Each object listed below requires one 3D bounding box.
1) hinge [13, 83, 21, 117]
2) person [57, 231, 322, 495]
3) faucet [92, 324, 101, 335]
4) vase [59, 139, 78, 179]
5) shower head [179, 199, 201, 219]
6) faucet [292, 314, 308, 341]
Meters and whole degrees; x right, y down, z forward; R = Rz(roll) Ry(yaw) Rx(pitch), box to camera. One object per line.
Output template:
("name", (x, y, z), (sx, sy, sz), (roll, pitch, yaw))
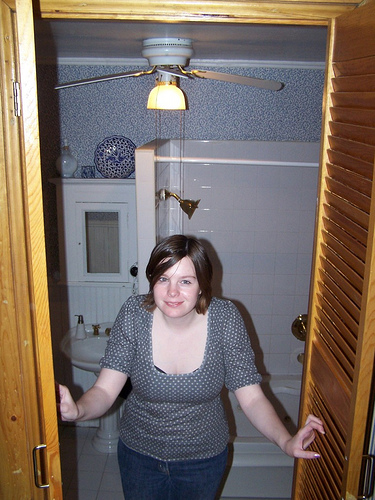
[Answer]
("hinge", (-0.299, -0.264, 0.727), (0.015, 0.056, 0.009), (-10, 13, -39))
("person", (0.007, 0.368, 1.135), (0.597, 0.803, 0.390), (-1, 10, 5))
("faucet", (-0.581, 0.503, 2.632), (0.071, 0.094, 0.045), (1, -2, -12))
("vase", (-0.771, -0.595, 2.680), (0.105, 0.266, 0.252), (-2, 10, -4))
("shower head", (0.008, -0.227, 2.219), (0.112, 0.109, 0.112), (14, -5, -7))
("faucet", (0.876, 0.611, 3.210), (0.109, 0.218, 0.097), (6, 12, 38))
